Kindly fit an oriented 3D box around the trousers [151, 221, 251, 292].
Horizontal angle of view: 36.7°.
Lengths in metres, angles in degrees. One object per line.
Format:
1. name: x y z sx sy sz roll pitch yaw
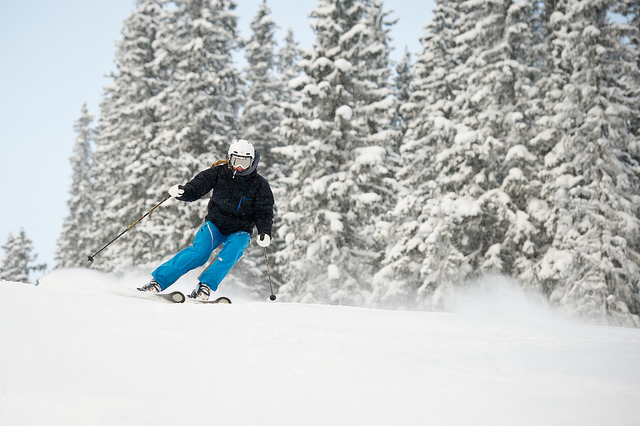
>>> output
1. trousers: -3.292 1.180 27.427 1.699 2.660 0.882 38 -17 9
